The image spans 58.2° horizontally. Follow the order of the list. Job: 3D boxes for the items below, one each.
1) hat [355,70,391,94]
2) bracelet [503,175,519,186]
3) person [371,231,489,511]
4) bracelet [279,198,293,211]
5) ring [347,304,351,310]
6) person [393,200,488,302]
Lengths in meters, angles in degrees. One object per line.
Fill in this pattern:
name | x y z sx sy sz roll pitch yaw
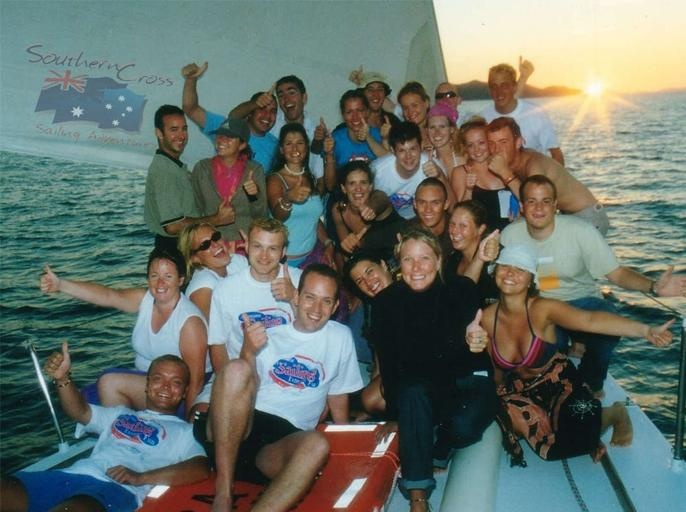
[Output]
hat | 0.431 -2.755 9.546 0.498 0.200 0.698 0 11 -3
bracelet | 2.191 -0.988 8.018 0.158 0.088 0.052 -34 -7 3
person | 1.014 1.046 6.312 1.157 2.588 1.179 -3 10 -16
bracelet | -0.756 -0.680 8.024 0.212 0.194 0.084 4 10 24
ring | 0.094 0.642 7.859 0.054 0.074 0.018 0 3 36
person | 1.164 -0.035 7.056 0.492 1.262 0.897 -5 -17 -26
